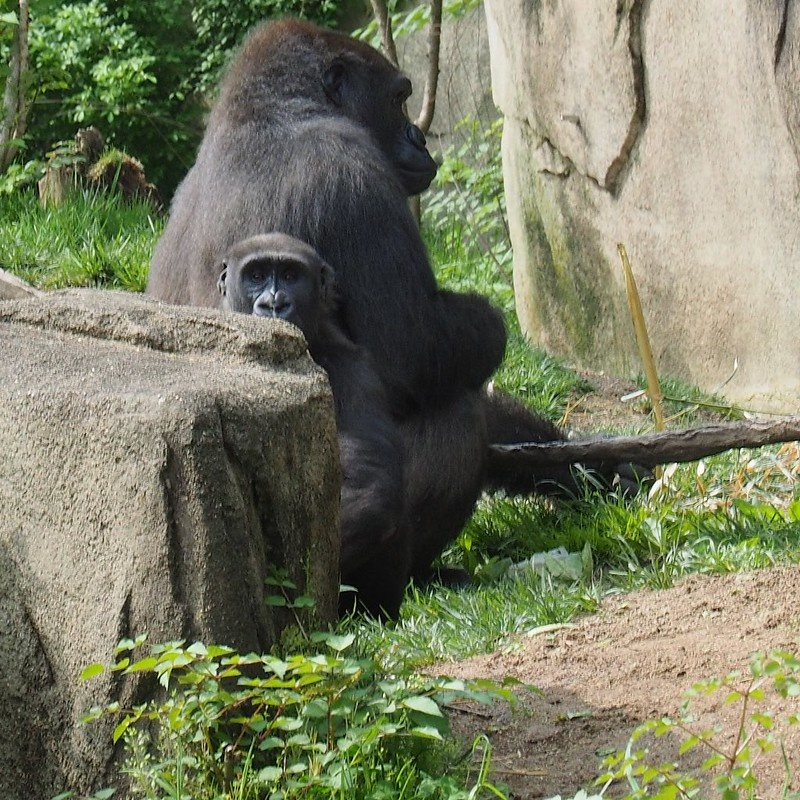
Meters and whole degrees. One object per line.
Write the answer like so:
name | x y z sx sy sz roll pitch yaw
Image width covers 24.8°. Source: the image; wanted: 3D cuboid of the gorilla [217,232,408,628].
gorilla | -0.284 0.120 6.459 0.648 1.454 0.657 -3 2 -7
